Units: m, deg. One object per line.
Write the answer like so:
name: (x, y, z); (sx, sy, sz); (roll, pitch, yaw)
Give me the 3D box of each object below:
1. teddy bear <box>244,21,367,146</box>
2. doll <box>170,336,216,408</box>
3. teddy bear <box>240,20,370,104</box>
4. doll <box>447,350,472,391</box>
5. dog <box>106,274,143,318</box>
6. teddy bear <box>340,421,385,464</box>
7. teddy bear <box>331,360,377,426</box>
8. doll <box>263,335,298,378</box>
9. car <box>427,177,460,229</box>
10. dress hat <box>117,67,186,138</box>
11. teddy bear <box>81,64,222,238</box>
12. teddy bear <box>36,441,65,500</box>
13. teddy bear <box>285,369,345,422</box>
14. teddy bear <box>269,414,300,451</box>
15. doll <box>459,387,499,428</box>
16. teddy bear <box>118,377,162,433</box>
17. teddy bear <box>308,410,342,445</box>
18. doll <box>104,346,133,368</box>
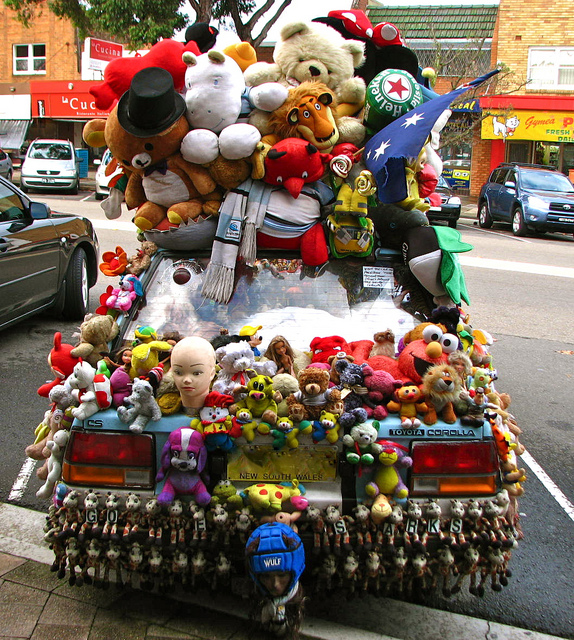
teddy bear: (0.118, -1.417, 3.034); (0.730, 0.792, 0.385); (3, 6, -7)
doll: (-0.361, 0.204, 1.948); (0.177, 0.266, 0.193); (-2, -5, 13)
teddy bear: (0.146, -1.519, 3.105); (0.682, 0.404, 0.335); (13, 21, -9)
doll: (0.667, 0.195, 1.992); (0.123, 0.125, 0.075); (9, -28, -11)
dog: (-0.827, -0.139, 2.607); (0.174, 0.214, 0.121); (10, -8, -5)
teddy bear: (0.262, 0.416, 1.788); (0.156, 0.147, 0.101); (12, 0, -1)
teddy bear: (0.239, 0.267, 1.897); (0.203, 0.226, 0.140); (6, 1, 6)
doll: (-0.012, 0.156, 2.186); (0.160, 0.173, 0.115); (-3, 14, 20)
car: (5.305, -3.852, 17.102); (0.838, 1.595, 2.603); (6, 6, 16)
dress hat: (-0.675, -1.088, 2.583); (0.335, 0.347, 0.284); (2, 6, -17)
teddy bear: (-0.705, -0.921, 2.866); (0.548, 0.911, 0.747); (-1, 7, -36)
teddy bear: (-0.930, 0.595, 2.017); (0.071, 0.317, 0.242); (1, 7, -30)
teddy bear: (0.098, 0.268, 1.841); (0.225, 0.167, 0.117); (-2, 0, 11)
teddy bear: (-0.009, 0.386, 1.772); (0.153, 0.142, 0.066); (-2, 3, -4)
doll: (0.674, 0.314, 1.862); (0.091, 0.133, 0.113); (7, 7, 28)
teddy bear: (-0.527, 0.294, 1.810); (0.171, 0.167, 0.131); (10, 27, 27)
teddy bear: (0.136, 0.376, 1.785); (0.142, 0.114, 0.051); (3, -1, -7)
doll: (-0.683, 0.154, 2.108); (0.101, 0.046, 0.076); (-1, -3, 44)
